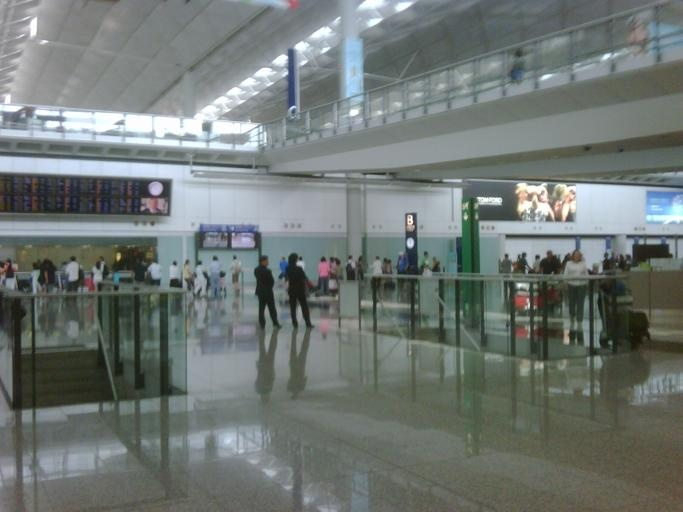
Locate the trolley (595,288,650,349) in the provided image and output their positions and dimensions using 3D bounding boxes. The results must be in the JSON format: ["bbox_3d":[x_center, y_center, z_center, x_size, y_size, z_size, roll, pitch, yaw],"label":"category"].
[{"bbox_3d":[5.575,1.252,11.197,1.128,1.225,1.148,3,-4,-19],"label":"trolley"}]
